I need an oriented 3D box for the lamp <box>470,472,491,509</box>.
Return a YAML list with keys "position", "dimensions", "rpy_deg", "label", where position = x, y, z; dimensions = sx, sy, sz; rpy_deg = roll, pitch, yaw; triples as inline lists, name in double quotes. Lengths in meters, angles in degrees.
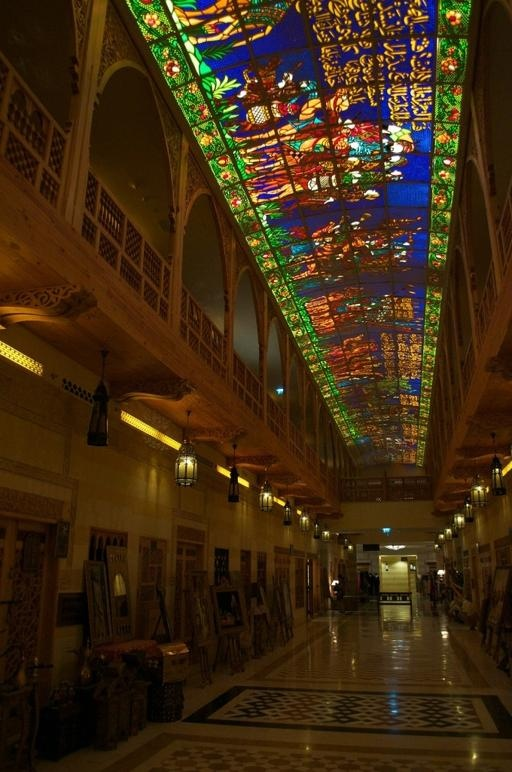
- position: [4.371, 2.015, 10.557]
  dimensions: [0.258, 0.640, 0.750]
  rpy_deg: [-6, -19, 19]
  label: "lamp"
